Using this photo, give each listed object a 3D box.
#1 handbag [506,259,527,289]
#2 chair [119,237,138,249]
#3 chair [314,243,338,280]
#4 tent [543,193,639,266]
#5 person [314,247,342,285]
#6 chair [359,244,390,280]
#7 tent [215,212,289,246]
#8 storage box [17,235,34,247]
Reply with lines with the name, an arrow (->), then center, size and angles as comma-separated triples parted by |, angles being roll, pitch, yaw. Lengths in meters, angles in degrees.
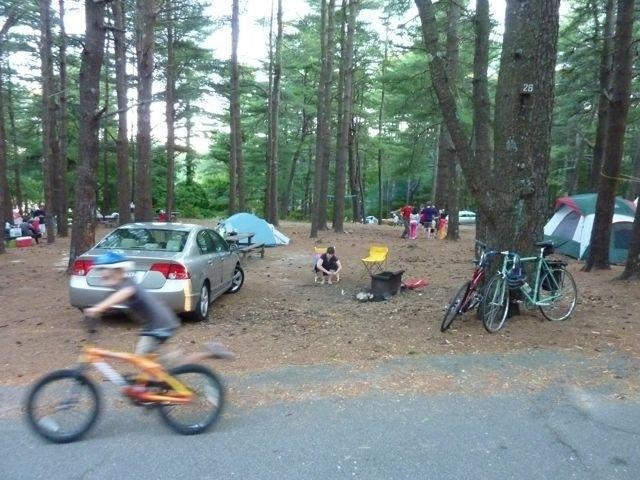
handbag -> 3.544, 0.640, 10.474 | 0.433, 0.751, 0.593 | -2, -2, 15
chair -> -3.582, 0.081, 10.864 | 0.275, 0.229, 0.196 | 3, 8, -7
chair -> 0.168, 0.642, 15.242 | 0.672, 0.954, 0.672 | 2, 8, 15
tent -> 7.929, -0.252, 16.908 | 2.142, 1.364, 2.123 | 5, 13, 16
person -> 0.200, 0.647, 15.284 | 0.695, 0.929, 1.042 | 2, 9, -8
chair -> 1.451, 0.612, 16.288 | 0.862, 1.066, 0.849 | 2, 6, 35
tent -> -2.811, -0.397, 22.173 | 1.723, 0.698, 1.708 | 3, 2, 21
storage box -> -11.815, 0.083, 23.223 | 0.502, 0.439, 0.697 | 2, 2, -1
